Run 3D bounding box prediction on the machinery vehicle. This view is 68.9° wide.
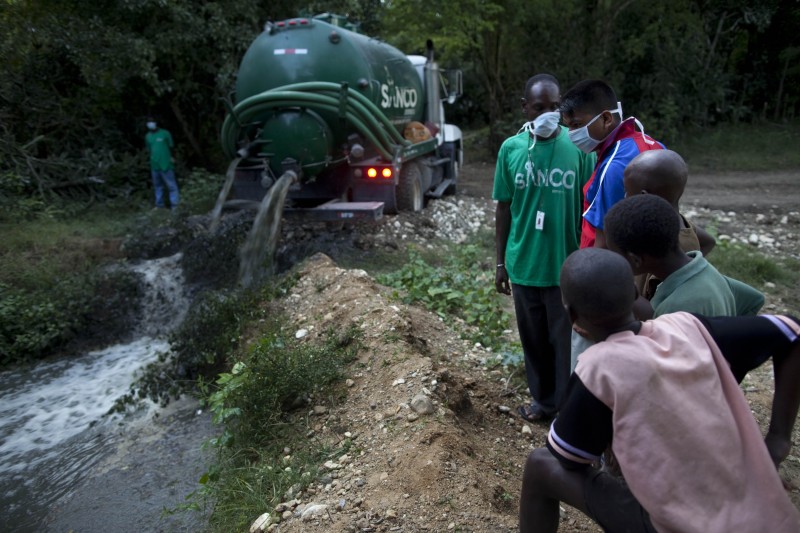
[{"bbox_3d":[-0.911,-3.032,11.884,3.059,3.512,7.081,3,14,16],"label":"machinery vehicle"}]

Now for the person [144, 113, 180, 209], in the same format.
[{"bbox_3d":[-5.416,-2.310,13.268,0.560,1.994,1.252,-9,18,-23],"label":"person"}]

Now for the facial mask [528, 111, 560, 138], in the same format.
[{"bbox_3d":[1.281,-1.247,5.111,0.191,0.147,0.237,-10,18,12],"label":"facial mask"}]

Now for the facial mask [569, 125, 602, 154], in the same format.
[{"bbox_3d":[1.541,-1.061,4.871,0.193,0.135,0.183,-33,6,23],"label":"facial mask"}]

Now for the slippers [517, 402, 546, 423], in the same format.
[{"bbox_3d":[1.251,1.381,5.518,0.247,0.112,0.144,28,50,25],"label":"slippers"}]
